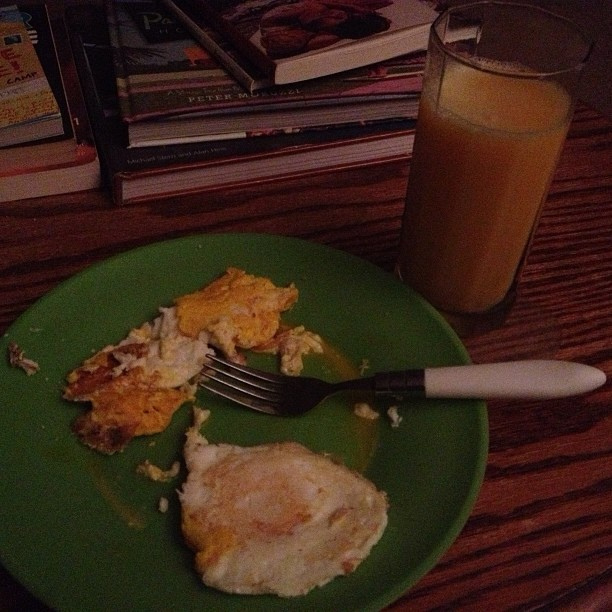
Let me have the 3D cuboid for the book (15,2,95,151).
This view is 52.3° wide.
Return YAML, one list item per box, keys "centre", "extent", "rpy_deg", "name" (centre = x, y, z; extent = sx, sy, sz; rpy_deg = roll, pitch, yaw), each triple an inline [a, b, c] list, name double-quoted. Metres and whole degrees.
- centre: [-0.432, -0.386, 1.064]
  extent: [0.128, 0.043, 0.603]
  rpy_deg: [-9, 49, -19]
  name: "book"

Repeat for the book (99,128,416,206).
- centre: [-0.066, -0.226, 1.021]
  extent: [0.349, 0.028, 0.216]
  rpy_deg: [-8, 24, -11]
  name: "book"

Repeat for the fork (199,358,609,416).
- centre: [0.115, 0.095, 0.716]
  extent: [0.408, 0.046, 0.046]
  rpy_deg: [-2, 34, 9]
  name: "fork"

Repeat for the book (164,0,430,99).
- centre: [0.002, -0.420, 1.029]
  extent: [0.287, 0.030, 0.278]
  rpy_deg: [-16, 40, -23]
  name: "book"
